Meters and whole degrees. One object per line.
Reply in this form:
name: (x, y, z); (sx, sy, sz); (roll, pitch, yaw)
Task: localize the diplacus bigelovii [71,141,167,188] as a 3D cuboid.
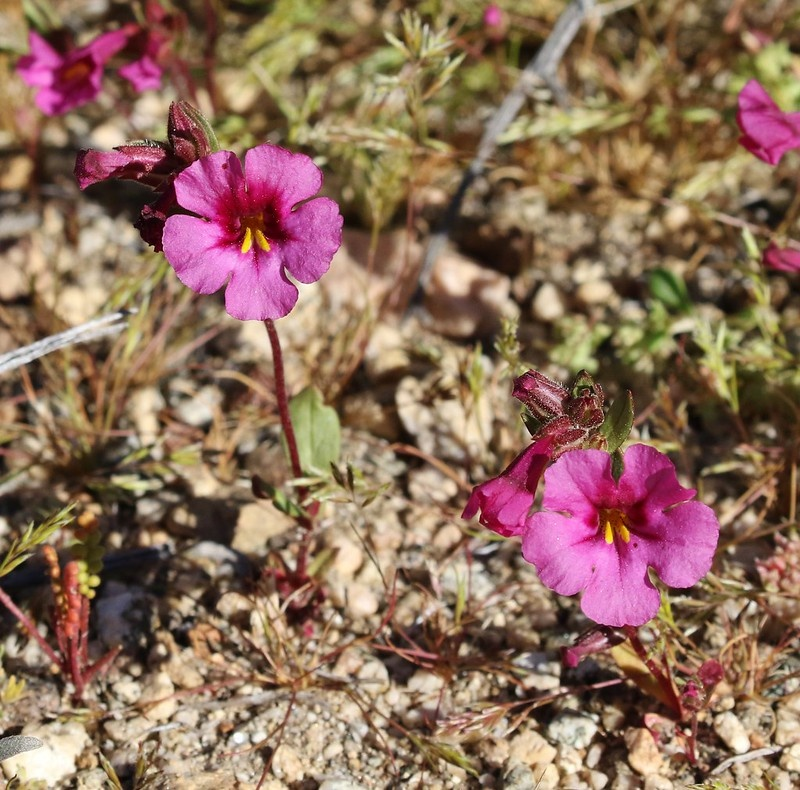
diplacus bigelovii: (-0.608, -0.519, 1.950); (0.101, 0.227, 0.086); (-11, 82, 44)

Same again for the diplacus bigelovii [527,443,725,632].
diplacus bigelovii: (0.478, 0.309, 1.912); (0.399, 0.160, 0.412); (-31, 41, 3)

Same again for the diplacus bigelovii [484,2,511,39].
diplacus bigelovii: (0.328, -1.273, 2.913); (0.058, 0.101, 0.094); (2, 65, 34)
